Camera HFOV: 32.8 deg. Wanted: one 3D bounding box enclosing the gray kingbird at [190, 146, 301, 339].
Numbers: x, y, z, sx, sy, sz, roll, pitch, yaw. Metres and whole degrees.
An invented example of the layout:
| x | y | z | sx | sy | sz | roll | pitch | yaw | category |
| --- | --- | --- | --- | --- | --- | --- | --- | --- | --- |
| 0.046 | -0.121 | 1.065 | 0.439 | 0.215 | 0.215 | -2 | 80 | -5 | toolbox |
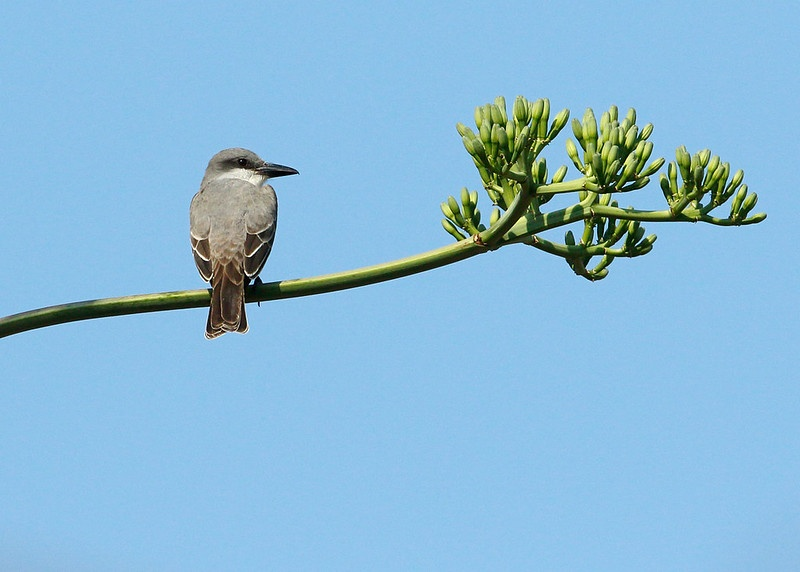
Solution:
| x | y | z | sx | sy | sz | roll | pitch | yaw | category |
| --- | --- | --- | --- | --- | --- | --- | --- | --- | --- |
| -1.290 | -0.405 | 10.689 | 0.748 | 2.340 | 0.334 | 3 | -56 | -6 | gray kingbird |
